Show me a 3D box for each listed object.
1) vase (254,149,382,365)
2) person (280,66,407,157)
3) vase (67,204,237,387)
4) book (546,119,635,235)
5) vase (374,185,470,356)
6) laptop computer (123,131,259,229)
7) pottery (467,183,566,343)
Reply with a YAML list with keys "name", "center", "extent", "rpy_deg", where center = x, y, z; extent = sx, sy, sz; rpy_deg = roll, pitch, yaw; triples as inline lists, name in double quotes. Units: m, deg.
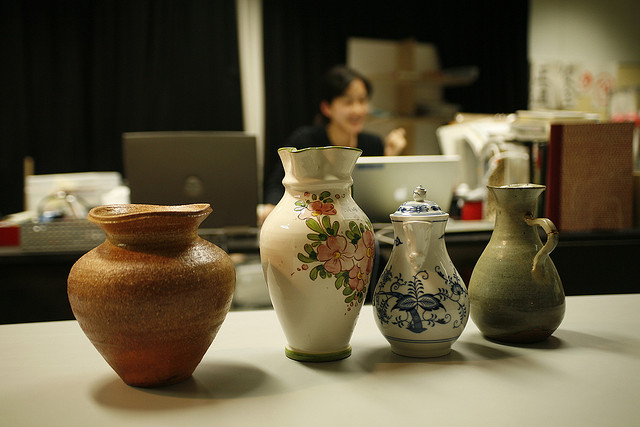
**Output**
- name: "vase"
  center: [-0.003, 0.097, 1.357]
  extent: [0.315, 0.471, 0.297]
  rpy_deg: [0, 4, -1]
- name: "person"
  center: [0.176, -0.527, 3.440]
  extent: [0.915, 0.615, 0.410]
  rpy_deg: [4, 2, -15]
- name: "vase"
  center: [-0.380, 0.174, 1.280]
  extent: [0.371, 0.397, 0.356]
  rpy_deg: [-1, 8, -3]
- name: "book"
  center: [1.023, -0.135, 2.124]
  extent: [0.426, 0.544, 0.073]
  rpy_deg: [-2, 10, -1]
- name: "vase"
  center: [0.237, 0.129, 1.272]
  extent: [0.233, 0.379, 0.121]
  rpy_deg: [-3, 10, -1]
- name: "laptop computer"
  center: [-0.537, -0.139, 2.467]
  extent: [0.318, 0.401, 0.571]
  rpy_deg: [7, 4, -34]
- name: "pottery"
  center: [0.479, 0.119, 1.367]
  extent: [0.231, 0.364, 0.247]
  rpy_deg: [-3, 4, -23]
